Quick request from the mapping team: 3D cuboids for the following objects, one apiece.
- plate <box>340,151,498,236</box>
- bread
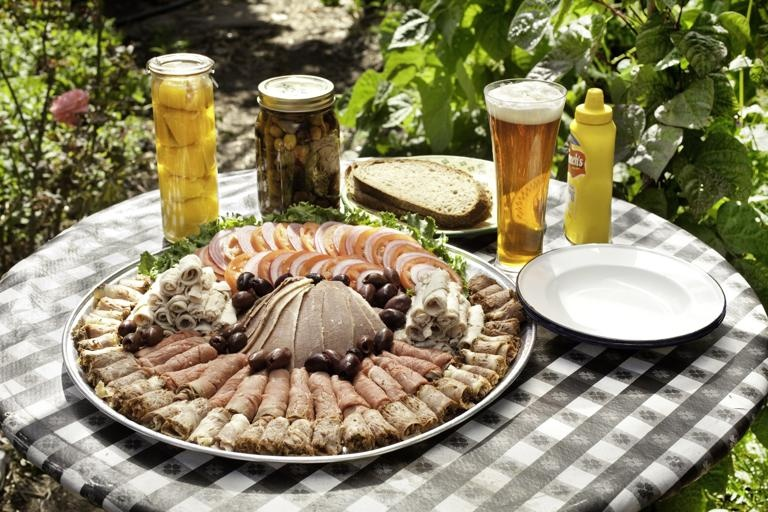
[{"bbox_3d":[0.199,-0.356,3.532,0.646,0.166,0.476,24,30,12],"label":"plate"},{"bbox_3d":[0.227,-0.344,3.509,0.625,0.118,0.385,25,36,29],"label":"bread"}]
